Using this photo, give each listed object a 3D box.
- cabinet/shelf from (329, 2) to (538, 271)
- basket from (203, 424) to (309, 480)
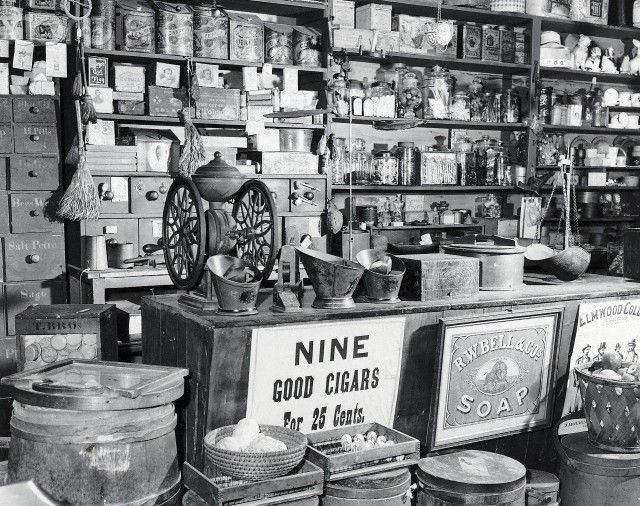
[{"bbox_3d":[0.852,-0.963,6.213,2.031,2.085,0.624,-1,3,-23],"label":"cabinet/shelf"},{"bbox_3d":[-0.266,0.846,3.323,0.436,0.197,0.267,-1,4,-7],"label":"basket"}]
